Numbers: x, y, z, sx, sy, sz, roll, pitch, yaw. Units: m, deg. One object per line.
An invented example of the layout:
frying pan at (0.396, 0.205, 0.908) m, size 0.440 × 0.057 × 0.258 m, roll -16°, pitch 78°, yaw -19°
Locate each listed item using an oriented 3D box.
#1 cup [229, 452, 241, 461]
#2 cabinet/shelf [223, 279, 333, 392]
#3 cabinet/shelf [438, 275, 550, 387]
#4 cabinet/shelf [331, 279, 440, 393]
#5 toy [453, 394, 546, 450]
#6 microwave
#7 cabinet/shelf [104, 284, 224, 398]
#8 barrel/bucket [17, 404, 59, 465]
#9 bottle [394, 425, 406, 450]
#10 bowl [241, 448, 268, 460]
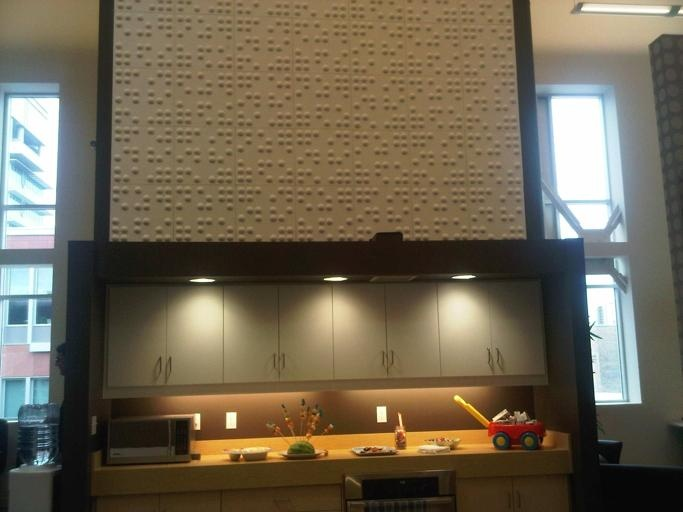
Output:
cup at (-1.190, 2.239, 7.829) m, size 0.126 × 0.117 × 0.125 m, roll -3°, pitch -12°, yaw -1°
cabinet/shelf at (-0.735, 0.789, 8.303) m, size 1.282 × 1.330 × 0.541 m, roll 0°, pitch 26°, yaw -6°
cabinet/shelf at (1.767, 0.929, 8.312) m, size 1.043 × 1.170 × 0.447 m, roll 0°, pitch -11°, yaw -3°
cabinet/shelf at (0.481, 0.950, 8.199) m, size 1.019 × 1.084 × 0.432 m, roll 0°, pitch -10°, yaw -5°
toy at (1.858, 1.936, 8.213) m, size 0.935 × 0.732 × 0.533 m, roll -4°, pitch -8°, yaw 13°
microwave at (-2.123, 2.051, 7.747) m, size 0.912 × 0.500 × 0.292 m, roll 1°, pitch -12°, yaw -19°
cabinet/shelf at (-2.070, 0.991, 7.922) m, size 1.010 × 1.067 × 0.460 m, roll 0°, pitch -9°, yaw -5°
barrel/bucket at (-3.520, 2.067, 8.134) m, size 0.459 × 0.688 × 0.738 m, roll 3°, pitch -13°, yaw -25°
bottle at (0.734, 2.152, 8.325) m, size 0.117 × 0.282 × 0.278 m, roll -9°, pitch -13°, yaw 33°
bowl at (-0.974, 2.234, 7.869) m, size 0.298 × 0.122 × 0.215 m, roll -1°, pitch -12°, yaw -10°
